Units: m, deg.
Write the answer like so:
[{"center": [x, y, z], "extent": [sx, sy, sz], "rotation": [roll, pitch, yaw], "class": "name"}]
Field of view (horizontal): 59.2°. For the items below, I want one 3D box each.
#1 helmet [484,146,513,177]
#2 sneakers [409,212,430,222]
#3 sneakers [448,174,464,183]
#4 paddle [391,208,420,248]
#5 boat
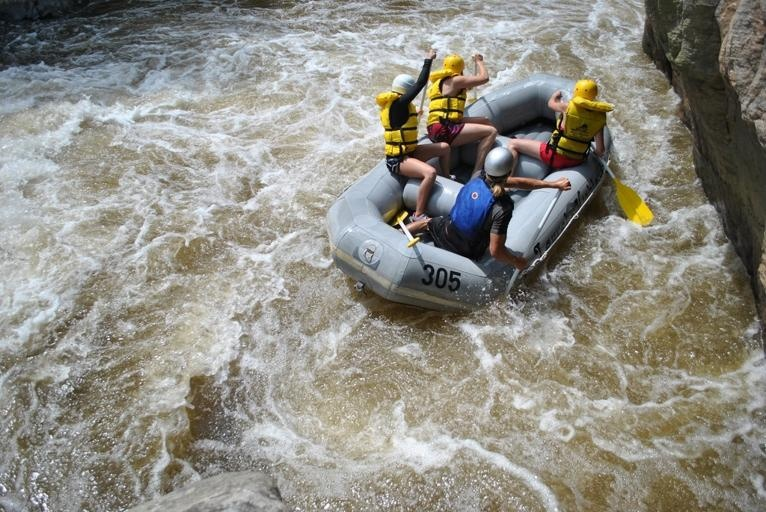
[{"center": [1.439, -1.183, 8.458], "extent": [0.293, 0.317, 0.387], "rotation": [22, 64, 29], "class": "helmet"}, {"center": [0.502, -0.549, 9.402], "extent": [0.272, 0.122, 0.110], "rotation": [10, 23, 27], "class": "sneakers"}, {"center": [1.075, -1.159, 10.033], "extent": [0.248, 0.096, 0.075], "rotation": [27, 44, -12], "class": "sneakers"}, {"center": [0.308, -0.401, 9.218], "extent": [0.212, 0.122, 0.700], "rotation": [4, 29, -20], "class": "paddle"}, {"center": [1.452, -0.460, 10.601], "extent": [2.694, 0.991, 4.733], "rotation": [42, 66, 15], "class": "boat"}]
